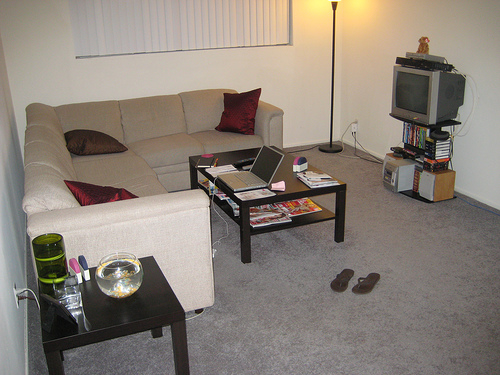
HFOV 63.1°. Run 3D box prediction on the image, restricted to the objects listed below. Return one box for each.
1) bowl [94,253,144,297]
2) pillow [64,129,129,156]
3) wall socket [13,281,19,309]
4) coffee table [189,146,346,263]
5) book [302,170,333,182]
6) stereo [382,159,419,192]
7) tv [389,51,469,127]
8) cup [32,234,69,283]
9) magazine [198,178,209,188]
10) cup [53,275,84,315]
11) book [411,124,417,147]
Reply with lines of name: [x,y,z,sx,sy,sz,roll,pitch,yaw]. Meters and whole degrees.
bowl: [-0.655,0.442,2.056,0.218,0.176,0.217,1,14,0]
pillow: [-1.686,-0.532,4.412,0.799,0.259,0.573,-2,24,-23]
wall socket: [-1.450,0.667,2.519,0.026,0.131,0.126,-9,26,-25]
coffee table: [0.139,0.184,3.627,0.891,0.658,1.364,-10,21,-25]
book: [0.599,-0.103,3.628,0.146,0.037,0.153,-7,22,-18]
stereo: [1.683,-0.140,4.695,0.282,0.339,0.374,-4,22,-13]
tv: [1.926,-1.081,4.402,0.489,0.641,0.612,-12,24,-19]
cup: [-1.045,0.395,2.132,0.143,0.240,0.140,-5,7,1]
magazine: [-0.483,-0.050,4.252,0.073,0.024,0.137,-9,22,-23]
cup: [-0.956,0.575,2.087,0.173,0.162,0.126,-34,-19,36]
book: [1.822,-0.577,4.519,0.035,0.229,0.085,-15,25,-27]
